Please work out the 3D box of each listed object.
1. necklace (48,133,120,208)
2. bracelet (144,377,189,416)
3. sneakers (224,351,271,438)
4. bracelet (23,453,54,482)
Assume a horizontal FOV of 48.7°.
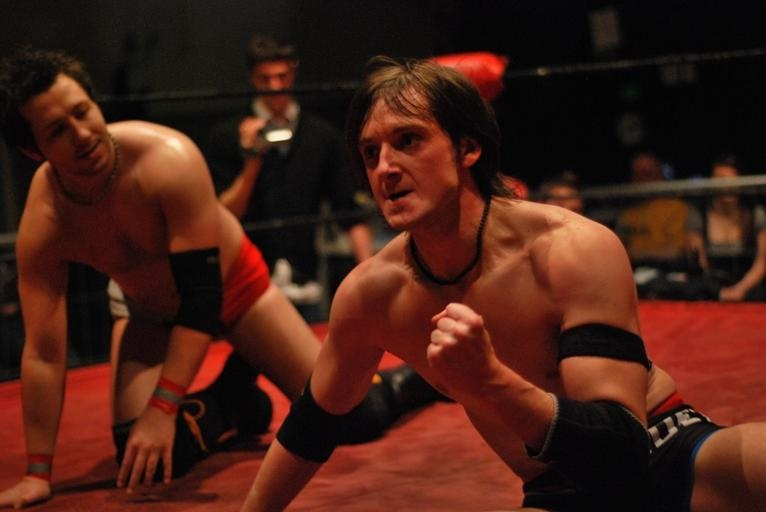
[{"bbox_3d":[-1.146,-0.325,3.221,0.265,0.266,0.077,1,8,8],"label":"necklace"},{"bbox_3d":[-0.860,0.548,3.243,0.110,0.113,0.115,-8,-8,20],"label":"bracelet"},{"bbox_3d":[-0.582,0.591,3.616,0.210,0.344,0.138,-18,5,-42],"label":"sneakers"},{"bbox_3d":[-1.306,0.803,3.171,0.093,0.099,0.100,5,-13,-23],"label":"bracelet"}]
